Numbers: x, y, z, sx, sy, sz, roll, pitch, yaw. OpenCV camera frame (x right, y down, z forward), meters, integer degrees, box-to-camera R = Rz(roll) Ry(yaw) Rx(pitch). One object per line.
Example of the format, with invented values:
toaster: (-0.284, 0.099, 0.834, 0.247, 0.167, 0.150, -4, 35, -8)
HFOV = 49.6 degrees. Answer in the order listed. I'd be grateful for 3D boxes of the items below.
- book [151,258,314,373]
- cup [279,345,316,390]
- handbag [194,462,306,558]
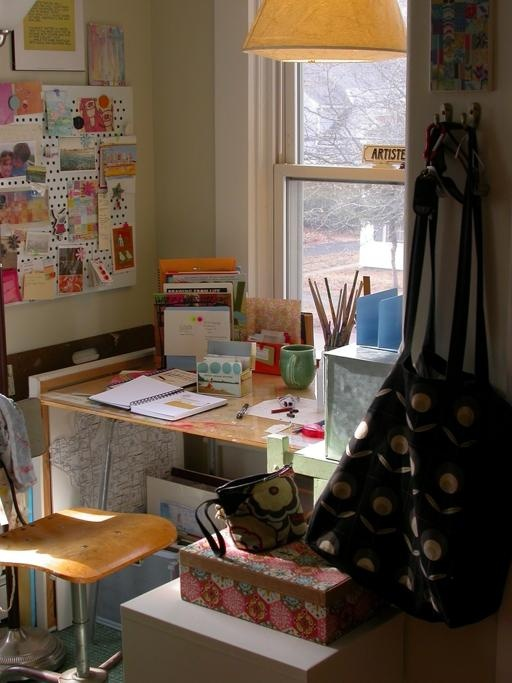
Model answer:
book: (-0.091, -0.087, 2.049, 0.435, 0.385, 0.173, 1, 3, 8)
cup: (0.142, 0.094, 1.863, 0.099, 0.123, 0.155, -1, 1, 6)
handbag: (0.004, 0.253, 0.875, 0.163, 0.112, 0.101, -23, 9, -16)
